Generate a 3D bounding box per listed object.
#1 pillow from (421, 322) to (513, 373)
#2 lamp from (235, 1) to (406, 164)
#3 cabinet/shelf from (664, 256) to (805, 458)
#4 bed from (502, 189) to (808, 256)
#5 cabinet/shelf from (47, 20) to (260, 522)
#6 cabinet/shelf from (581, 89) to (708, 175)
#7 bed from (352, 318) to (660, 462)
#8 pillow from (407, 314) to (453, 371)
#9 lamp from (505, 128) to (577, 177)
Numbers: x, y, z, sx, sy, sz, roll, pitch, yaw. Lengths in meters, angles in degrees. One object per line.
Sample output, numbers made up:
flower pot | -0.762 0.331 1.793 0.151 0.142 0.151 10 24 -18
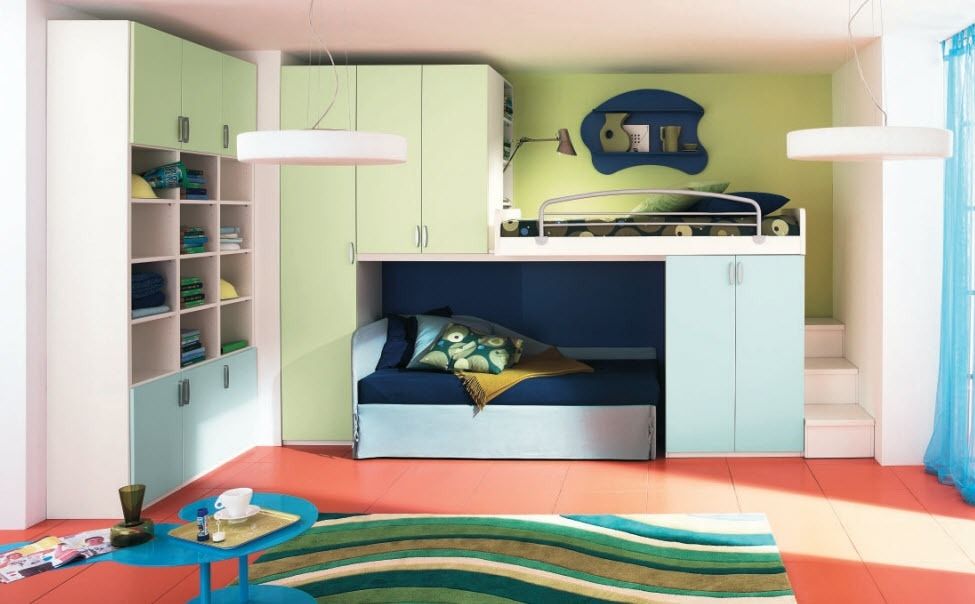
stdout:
pillow | -0.180 0.426 6.312 0.893 0.200 0.821 -1 19 2
lamp | -1.255 -1.668 5.461 1.465 1.336 1.308 2 5 1
cabinet/shelf | 2.008 0.426 5.868 1.083 1.566 0.378 -1 15 2
bed | 1.346 -0.648 5.892 2.397 0.544 0.470 -2 14 -4
cabinet/shelf | -2.526 -0.300 5.410 0.869 3.351 1.801 1 15 8
cabinet/shelf | 1.487 -1.585 6.666 0.955 0.550 0.193 0 1 4
bed | 0.179 0.684 6.192 2.061 0.782 1.220 1 1 5
pillow | -0.500 0.331 6.285 0.364 0.418 0.125 25 -11 -36
lamp | 0.499 -1.439 6.787 0.735 0.301 0.197 5 28 27
